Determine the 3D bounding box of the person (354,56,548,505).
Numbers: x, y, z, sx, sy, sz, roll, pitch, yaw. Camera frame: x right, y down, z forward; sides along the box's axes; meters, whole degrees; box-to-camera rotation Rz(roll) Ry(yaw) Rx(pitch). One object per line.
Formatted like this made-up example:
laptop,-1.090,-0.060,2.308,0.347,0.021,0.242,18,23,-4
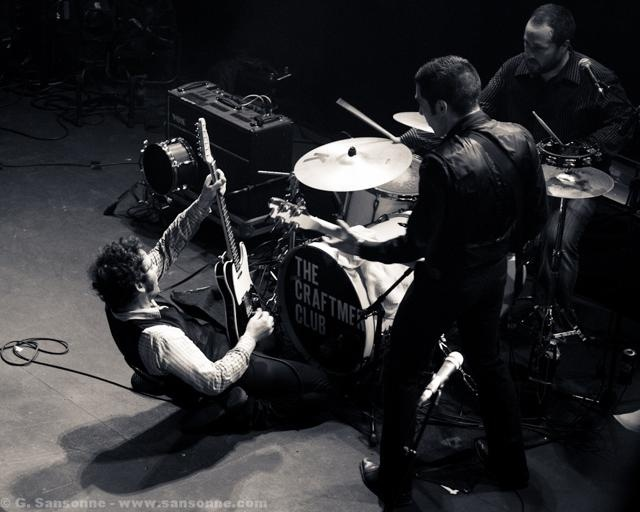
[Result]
person,0.586,0.199,2.899,0.853,2.098,0.364,-6,20,-22

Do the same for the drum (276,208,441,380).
drum,0.348,0.141,3.870,0.966,0.847,0.742,-20,23,-28

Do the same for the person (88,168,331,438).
person,-0.631,0.309,3.302,0.886,1.258,1.067,18,24,39

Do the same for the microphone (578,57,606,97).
microphone,1.640,-1.079,3.876,0.173,0.227,0.486,10,20,21

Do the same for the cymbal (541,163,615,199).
cymbal,1.469,-0.425,3.666,0.321,0.076,0.324,-4,39,3

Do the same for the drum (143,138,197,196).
drum,-1.261,-0.736,5.179,0.534,0.547,0.351,-5,1,-12

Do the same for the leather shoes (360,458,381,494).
leather shoes,0.254,1.099,3.222,0.066,0.118,0.169,-2,29,-16

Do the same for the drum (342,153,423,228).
drum,0.373,-0.313,4.065,0.432,0.419,0.442,19,46,14
